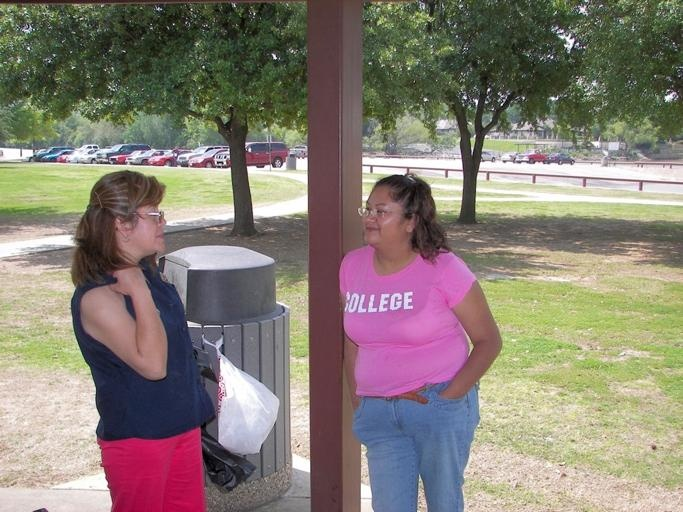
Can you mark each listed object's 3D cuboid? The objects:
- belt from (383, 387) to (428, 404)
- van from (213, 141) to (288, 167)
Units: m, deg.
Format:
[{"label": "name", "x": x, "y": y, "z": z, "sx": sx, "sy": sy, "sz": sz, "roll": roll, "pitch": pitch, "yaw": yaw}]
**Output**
[{"label": "belt", "x": 0.404, "y": 0.842, "z": 4.461, "sx": 0.234, "sy": 0.092, "sz": 0.025, "roll": 0, "pitch": 8, "yaw": 11}, {"label": "van", "x": -6.402, "y": -6.937, "z": 50.452, "sx": 5.297, "sy": 1.781, "sz": 3.680, "roll": -1, "pitch": 7, "yaw": 2}]
